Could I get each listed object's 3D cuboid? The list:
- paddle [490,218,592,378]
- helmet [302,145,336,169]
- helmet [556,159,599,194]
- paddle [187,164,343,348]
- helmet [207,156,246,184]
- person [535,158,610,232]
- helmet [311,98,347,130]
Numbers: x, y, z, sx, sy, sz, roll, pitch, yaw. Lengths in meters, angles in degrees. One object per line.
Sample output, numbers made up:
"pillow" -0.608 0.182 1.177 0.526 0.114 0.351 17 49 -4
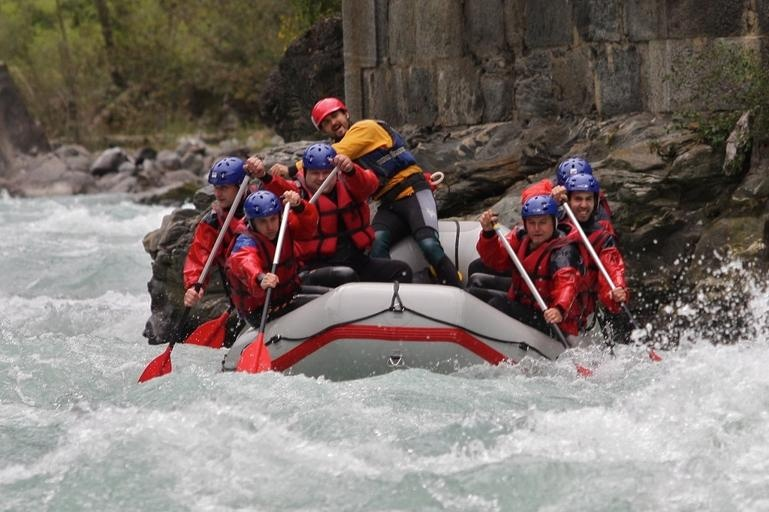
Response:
"paddle" 1.721 0.513 11.130 0.268 2.006 0.293 7 -46 -50
"helmet" -0.739 -1.115 11.626 0.260 0.340 0.312 0 22 -2
"helmet" 2.236 -0.893 11.944 0.370 0.457 0.486 1 -26 4
"paddle" -1.277 0.022 11.574 0.496 2.926 0.220 32 5 11
"helmet" -1.805 -0.936 11.791 0.291 0.366 0.393 -7 -11 42
"person" 2.312 -0.806 12.201 0.655 0.729 0.283 26 51 36
"helmet" -0.652 -1.688 12.144 0.374 0.343 0.386 -4 8 -3
